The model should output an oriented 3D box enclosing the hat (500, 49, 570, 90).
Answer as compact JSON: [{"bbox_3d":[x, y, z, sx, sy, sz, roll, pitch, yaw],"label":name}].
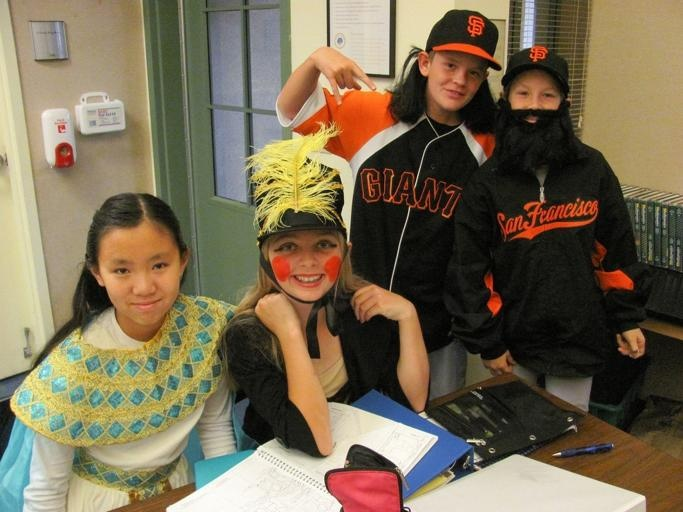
[{"bbox_3d":[0.655,-0.625,1.925,0.217,0.153,0.138,0,18,5],"label":"hat"}]

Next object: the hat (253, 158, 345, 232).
[{"bbox_3d":[-0.115,-0.165,1.563,0.249,0.229,0.171,-4,18,-8],"label":"hat"}]

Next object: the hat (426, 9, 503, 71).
[{"bbox_3d":[0.399,-0.722,1.928,0.198,0.115,0.235,13,18,-23],"label":"hat"}]
